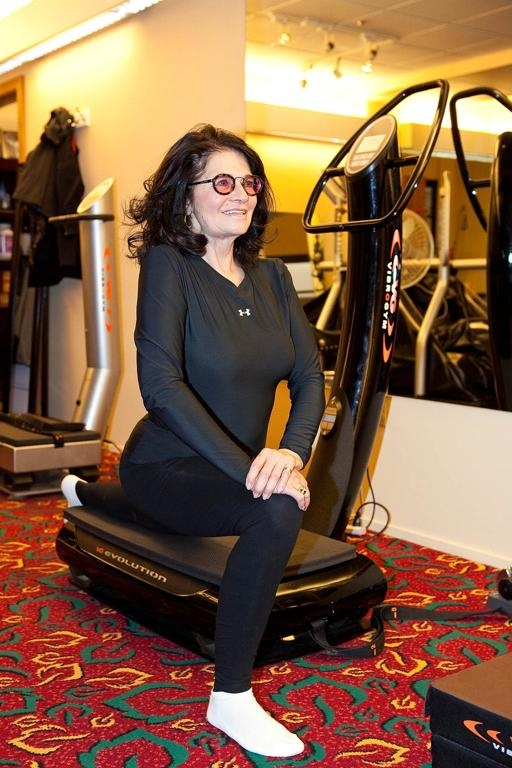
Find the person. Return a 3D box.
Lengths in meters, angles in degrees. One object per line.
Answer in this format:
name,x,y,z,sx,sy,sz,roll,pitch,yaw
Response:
person,-0.110,0.016,1.496,0.551,1.437,0.622,0,-2,6

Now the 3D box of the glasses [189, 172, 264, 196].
glasses,-0.055,-0.518,1.562,0.109,0.036,0.110,-6,8,-29

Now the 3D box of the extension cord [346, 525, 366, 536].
extension cord,0.456,0.670,2.772,0.081,0.032,0.081,0,-1,20

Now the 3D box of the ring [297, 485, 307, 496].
ring,0.096,0.217,1.239,0.006,0.018,0.018,-27,-15,30
